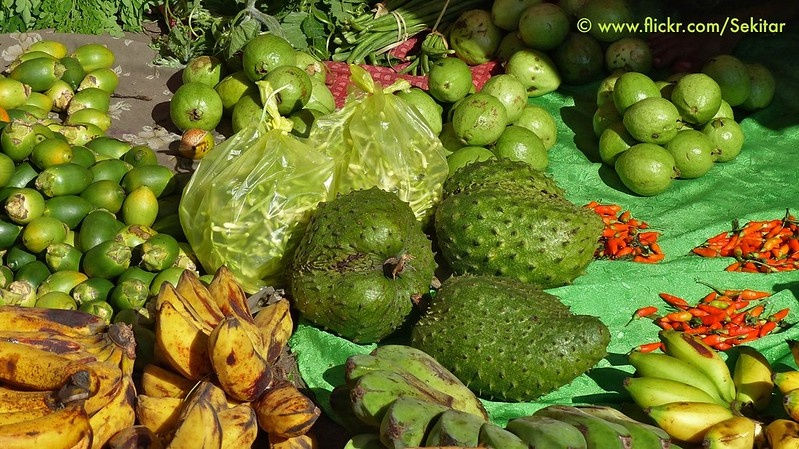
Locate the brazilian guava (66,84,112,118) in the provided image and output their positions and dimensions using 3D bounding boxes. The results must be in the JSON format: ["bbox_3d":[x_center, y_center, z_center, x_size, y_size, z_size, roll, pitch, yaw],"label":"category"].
[{"bbox_3d":[-3.241,-1.315,7.091,0.417,0.274,0.240,-27,82,-45],"label":"brazilian guava"}]

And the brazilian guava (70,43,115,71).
[{"bbox_3d":[-3.367,-1.860,7.554,0.474,0.263,0.268,10,81,-16],"label":"brazilian guava"}]

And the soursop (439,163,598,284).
[{"bbox_3d":[0.987,0.026,5.826,1.389,0.643,0.980,21,49,14],"label":"soursop"}]

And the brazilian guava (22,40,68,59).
[{"bbox_3d":[-3.936,-1.936,7.502,0.415,0.204,0.225,9,16,20],"label":"brazilian guava"}]

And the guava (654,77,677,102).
[{"bbox_3d":[2.793,-1.437,7.159,0.256,0.234,0.256,-2,87,7],"label":"guava"}]

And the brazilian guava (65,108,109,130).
[{"bbox_3d":[-3.146,-1.093,6.886,0.365,0.194,0.229,9,30,17],"label":"brazilian guava"}]

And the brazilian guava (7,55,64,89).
[{"bbox_3d":[-3.766,-1.580,7.061,0.500,0.259,0.301,-23,54,-24],"label":"brazilian guava"}]
